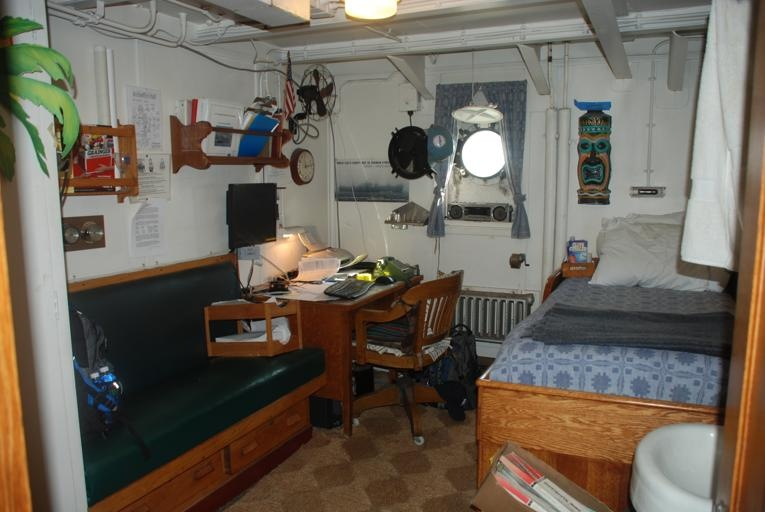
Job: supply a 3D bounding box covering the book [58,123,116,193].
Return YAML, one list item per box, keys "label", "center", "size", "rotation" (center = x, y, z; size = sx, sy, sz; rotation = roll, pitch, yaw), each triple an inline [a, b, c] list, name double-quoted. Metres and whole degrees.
- label: "book"
  center: [-1.783, -0.576, 3.347]
  size: [0.183, 0.405, 0.522]
  rotation: [1, 14, 3]

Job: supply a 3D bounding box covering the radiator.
- label: "radiator"
  center: [1.078, 0.594, 5.403]
  size: [0.910, 0.481, 0.216]
  rotation: [-2, 6, 21]

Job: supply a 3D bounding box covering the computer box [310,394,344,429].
- label: "computer box"
  center: [-0.462, 1.225, 4.314]
  size: [0.165, 0.226, 0.161]
  rotation: [7, -8, -42]

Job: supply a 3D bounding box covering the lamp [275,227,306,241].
- label: "lamp"
  center: [-0.855, -0.204, 5.094]
  size: [0.104, 0.136, 0.344]
  rotation: [11, 17, 35]

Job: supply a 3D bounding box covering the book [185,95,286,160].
- label: "book"
  center: [-1.072, -0.966, 4.216]
  size: [0.252, 0.457, 0.775]
  rotation: [9, 17, 31]

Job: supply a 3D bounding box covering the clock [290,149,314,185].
- label: "clock"
  center: [-0.775, -0.844, 5.263]
  size: [0.130, 0.341, 0.321]
  rotation: [4, 15, 14]

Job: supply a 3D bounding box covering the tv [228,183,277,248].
- label: "tv"
  center: [-1.063, -0.330, 4.454]
  size: [0.056, 0.482, 0.519]
  rotation: [3, 4, 28]

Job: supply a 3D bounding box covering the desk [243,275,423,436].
- label: "desk"
  center: [-0.353, 0.488, 4.603]
  size: [0.981, 1.119, 1.501]
  rotation: [2, 8, 20]

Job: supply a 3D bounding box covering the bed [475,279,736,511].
- label: "bed"
  center: [1.252, 0.754, 3.282]
  size: [1.136, 0.802, 1.638]
  rotation: [5, 14, 23]

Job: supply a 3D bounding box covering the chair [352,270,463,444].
- label: "chair"
  center: [0.207, 0.650, 4.907]
  size: [1.099, 1.613, 1.226]
  rotation: [5, 10, 21]

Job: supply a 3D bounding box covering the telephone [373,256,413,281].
- label: "telephone"
  center: [0.093, 0.132, 4.925]
  size: [0.213, 0.152, 0.291]
  rotation: [2, 3, 17]

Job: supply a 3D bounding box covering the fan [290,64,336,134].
- label: "fan"
  center: [-0.661, -1.531, 5.441]
  size: [0.328, 0.656, 0.761]
  rotation: [10, 17, 33]
